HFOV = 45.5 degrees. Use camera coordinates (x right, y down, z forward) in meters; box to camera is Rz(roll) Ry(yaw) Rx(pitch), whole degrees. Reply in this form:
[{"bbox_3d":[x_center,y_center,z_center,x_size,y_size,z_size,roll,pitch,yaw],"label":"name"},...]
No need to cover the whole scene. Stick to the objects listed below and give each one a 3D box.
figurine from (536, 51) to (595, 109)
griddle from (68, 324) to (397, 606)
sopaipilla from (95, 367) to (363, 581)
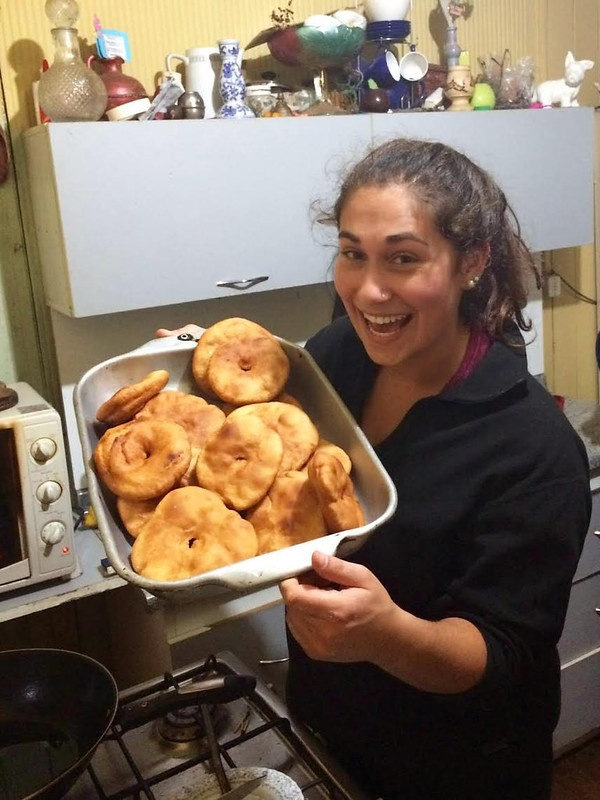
[{"bbox_3d":[0.766,-0.932,2.101,0.146,0.152,0.187,1,20,16],"label":"figurine"},{"bbox_3d":[-0.072,-0.005,0.702,0.301,0.063,0.360,-13,49,-23],"label":"griddle"},{"bbox_3d":[-0.077,0.088,0.752,0.238,0.071,0.222,-13,44,-25],"label":"sopaipilla"}]
